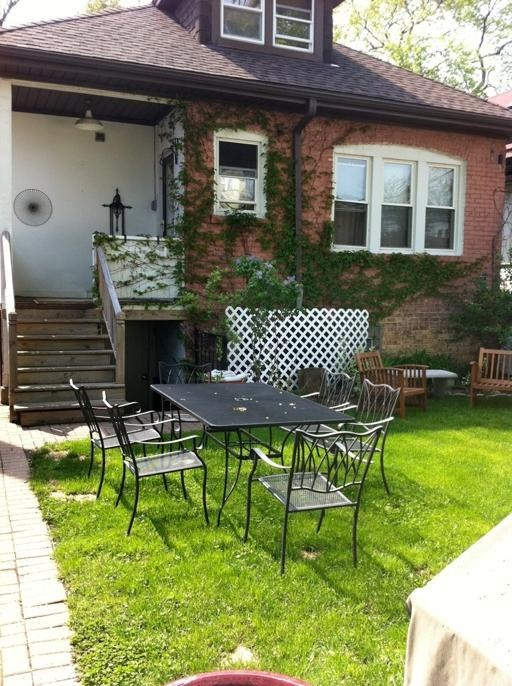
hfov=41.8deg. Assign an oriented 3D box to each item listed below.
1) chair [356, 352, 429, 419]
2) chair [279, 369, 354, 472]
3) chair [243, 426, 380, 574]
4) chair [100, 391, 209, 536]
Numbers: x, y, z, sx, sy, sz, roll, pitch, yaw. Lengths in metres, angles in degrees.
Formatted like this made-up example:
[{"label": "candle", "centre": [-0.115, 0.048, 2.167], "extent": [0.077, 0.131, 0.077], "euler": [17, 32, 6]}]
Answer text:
[{"label": "chair", "centre": [1.691, 0.510, 8.536], "extent": [0.672, 0.875, 0.713], "euler": [-3, 0, 37]}, {"label": "chair", "centre": [0.865, 0.809, 8.273], "extent": [0.854, 1.207, 0.870], "euler": [3, 1, -16]}, {"label": "chair", "centre": [0.297, 0.833, 3.893], "extent": [0.592, 0.890, 0.663], "euler": [1, 8, -18]}, {"label": "chair", "centre": [-0.633, 0.737, 4.347], "extent": [0.681, 0.816, 0.670], "euler": [0, 8, 8]}]
